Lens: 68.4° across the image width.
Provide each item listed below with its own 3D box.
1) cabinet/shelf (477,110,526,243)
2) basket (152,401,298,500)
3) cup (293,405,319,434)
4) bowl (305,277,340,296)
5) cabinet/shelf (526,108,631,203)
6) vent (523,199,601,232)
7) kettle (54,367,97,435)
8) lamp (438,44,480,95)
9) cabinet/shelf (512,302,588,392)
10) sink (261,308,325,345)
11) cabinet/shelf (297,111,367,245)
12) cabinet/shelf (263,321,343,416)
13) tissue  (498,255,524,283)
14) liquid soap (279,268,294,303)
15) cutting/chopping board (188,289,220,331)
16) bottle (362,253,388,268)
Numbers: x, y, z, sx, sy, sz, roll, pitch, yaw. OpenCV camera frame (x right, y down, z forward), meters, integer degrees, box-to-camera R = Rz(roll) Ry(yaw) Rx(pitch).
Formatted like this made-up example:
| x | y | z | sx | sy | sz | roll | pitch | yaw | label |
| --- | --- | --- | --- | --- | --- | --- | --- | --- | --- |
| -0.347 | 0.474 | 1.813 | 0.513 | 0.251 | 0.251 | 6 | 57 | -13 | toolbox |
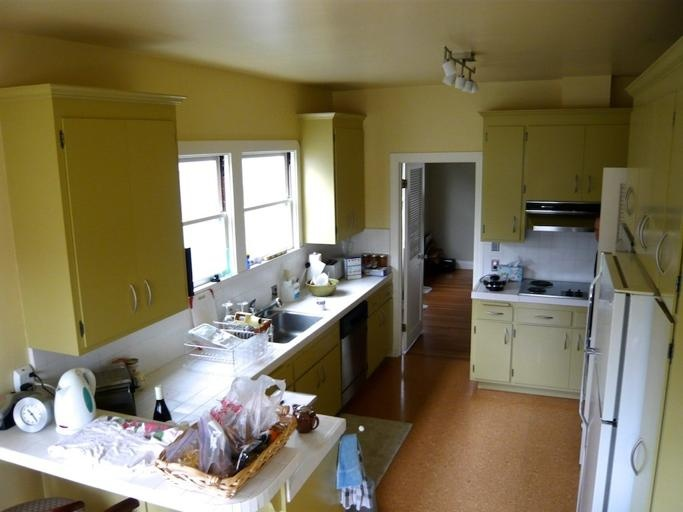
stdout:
| x | y | z | sx | sy | sz | roll | pitch | yaw | label |
| --- | --- | --- | --- | --- | --- | --- | --- | --- | --- |
| 1.735 | -0.820 | 5.334 | 0.472 | 1.442 | 0.367 | 11 | 22 | 39 | cabinet/shelf |
| -0.451 | 0.850 | 2.306 | 0.291 | 0.114 | 0.392 | 3 | 8 | 27 | basket |
| -0.196 | 0.911 | 2.822 | 0.161 | 0.123 | 0.123 | 6 | 9 | 31 | cup |
| -0.201 | 0.321 | 5.288 | 0.310 | 0.166 | 0.255 | -1 | 14 | -5 | bowl |
| 2.487 | -1.085 | 5.132 | 1.155 | 1.125 | 0.480 | 8 | 50 | 30 | cabinet/shelf |
| 2.196 | -0.392 | 5.049 | 0.684 | 0.315 | 0.234 | 6 | 15 | 23 | vent |
| -1.488 | 0.792 | 2.855 | 0.196 | 0.322 | 0.308 | -3 | 8 | 10 | kettle |
| 0.842 | -1.350 | 3.579 | 0.072 | 0.220 | 0.504 | -1 | 30 | -15 | lamp |
| 2.198 | 1.129 | 5.380 | 0.780 | 0.724 | 1.043 | -3 | 50 | 30 | cabinet/shelf |
| -0.507 | 0.614 | 4.708 | 0.295 | 0.159 | 0.382 | 4 | 10 | 22 | sink |
| -0.134 | -0.873 | 5.451 | 0.537 | 1.822 | 1.328 | 1 | 7 | 19 | cabinet/shelf |
| -0.311 | 0.863 | 3.979 | 0.316 | 0.741 | 0.863 | 0 | 7 | 13 | cabinet/shelf |
| 1.888 | 0.140 | 5.605 | 0.231 | 0.240 | 0.207 | 0 | 14 | 1 | tissue  |
| -0.555 | 0.292 | 5.068 | 0.137 | 0.305 | 0.164 | -2 | 14 | -8 | liquid soap |
| -1.083 | 0.422 | 3.911 | 0.043 | 0.325 | 0.272 | 2 | 11 | 28 | cutting/chopping board |
| 0.402 | 0.059 | 6.080 | 0.309 | 0.150 | 0.157 | 1 | 14 | 6 | bottle |
